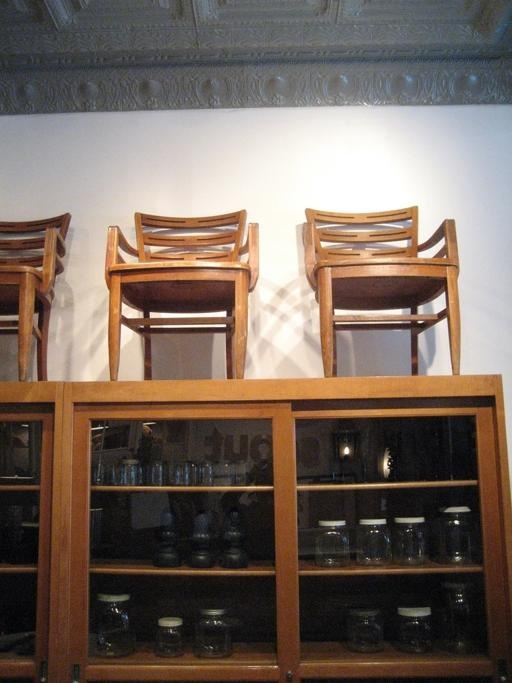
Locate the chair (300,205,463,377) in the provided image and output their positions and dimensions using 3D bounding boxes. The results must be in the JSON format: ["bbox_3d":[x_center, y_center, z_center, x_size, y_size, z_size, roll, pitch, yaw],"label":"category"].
[{"bbox_3d":[0.464,-0.160,2.552,0.594,0.800,0.550,1,-20,2],"label":"chair"}]
